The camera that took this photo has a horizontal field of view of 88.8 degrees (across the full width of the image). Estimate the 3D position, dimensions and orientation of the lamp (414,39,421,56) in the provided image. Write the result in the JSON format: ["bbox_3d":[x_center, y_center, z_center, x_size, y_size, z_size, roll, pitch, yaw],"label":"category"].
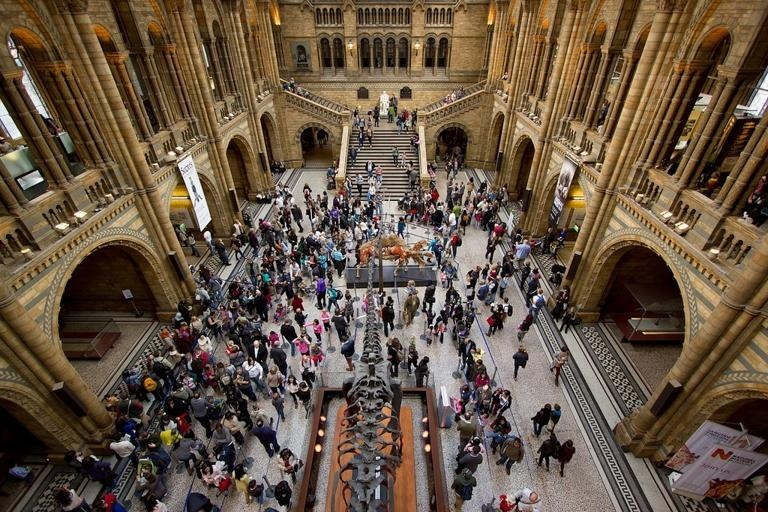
[{"bbox_3d":[2.736,-16.833,31.793,0.710,1.006,0.693,-18,37,-5],"label":"lamp"}]

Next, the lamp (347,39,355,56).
[{"bbox_3d":[-2.748,-16.853,31.644,0.613,1.201,0.598,-7,58,-4],"label":"lamp"}]
